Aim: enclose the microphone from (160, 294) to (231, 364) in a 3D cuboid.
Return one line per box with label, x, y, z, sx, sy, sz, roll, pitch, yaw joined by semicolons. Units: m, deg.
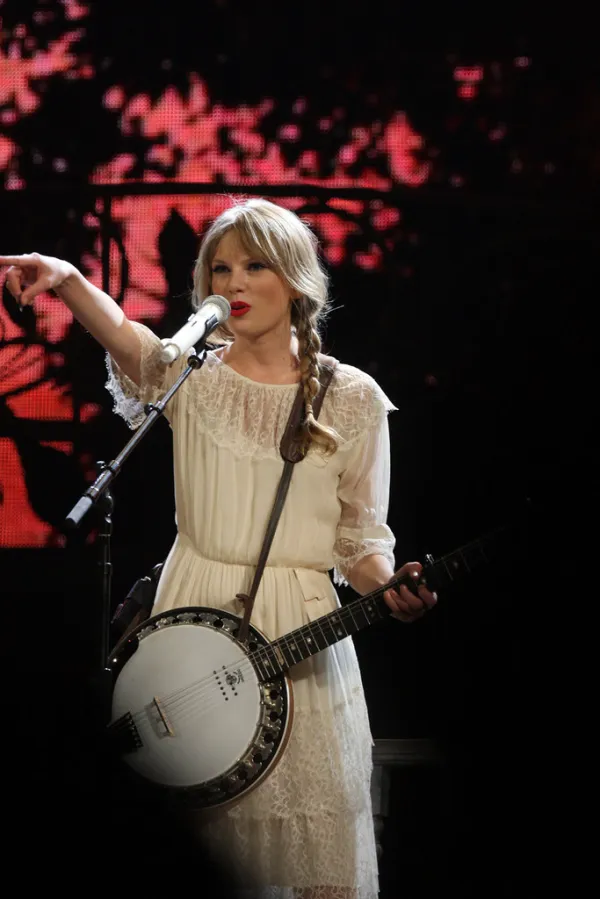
microphone;-0.171;-0.194;1.427;0.063;0.059;0.230;59;27;-11
